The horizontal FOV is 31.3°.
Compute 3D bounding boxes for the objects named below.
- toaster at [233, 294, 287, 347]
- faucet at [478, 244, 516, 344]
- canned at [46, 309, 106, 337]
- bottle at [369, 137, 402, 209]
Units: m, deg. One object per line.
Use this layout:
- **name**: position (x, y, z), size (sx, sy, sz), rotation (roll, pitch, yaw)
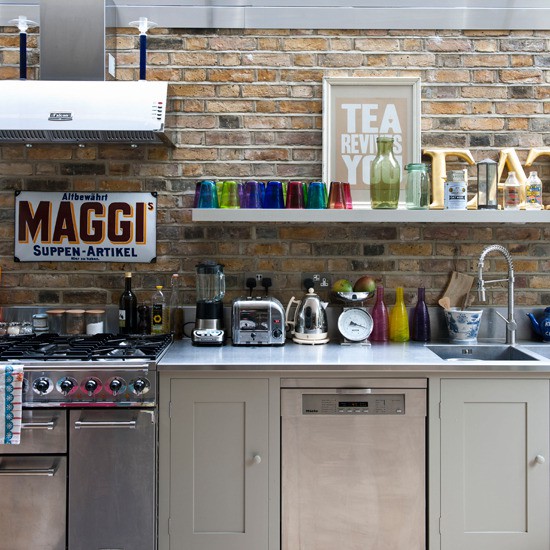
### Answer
- **toaster**: position (-0.071, 0.206, 4.584), size (0.209, 0.219, 0.165), rotation (3, 5, 2)
- **faucet**: position (1.065, 0.087, 4.673), size (0.209, 0.485, 0.398), rotation (5, 15, 12)
- **canned**: position (-0.968, 0.231, 4.719), size (0.278, 0.123, 0.130), rotation (2, 15, 0)
- **bottle**: position (0.517, -0.463, 4.547), size (0.141, 0.311, 0.223), rotation (2, 14, 1)
